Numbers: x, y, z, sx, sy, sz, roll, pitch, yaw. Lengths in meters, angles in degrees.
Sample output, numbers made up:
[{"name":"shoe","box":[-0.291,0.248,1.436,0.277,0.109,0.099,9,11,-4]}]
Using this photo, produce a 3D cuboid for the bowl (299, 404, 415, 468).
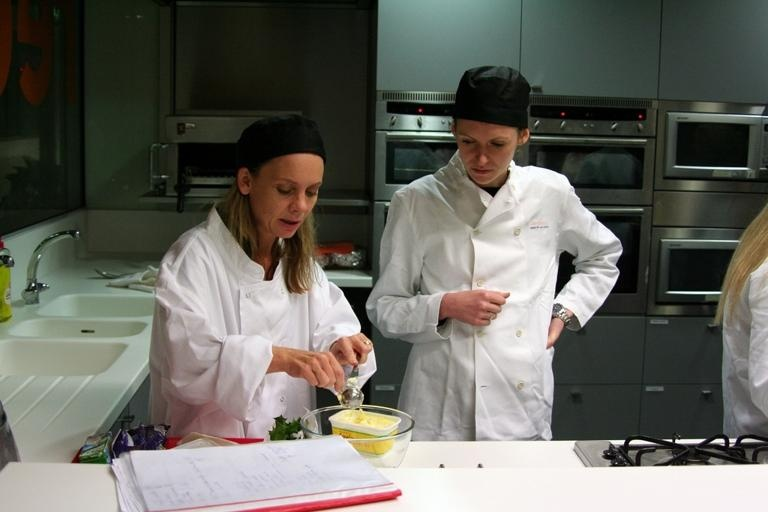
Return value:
[{"name":"bowl","box":[-0.066,0.416,1.483,0.229,0.081,0.154,4,12,11]}]

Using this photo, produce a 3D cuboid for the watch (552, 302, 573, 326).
[{"name":"watch","box":[0.659,0.214,2.240,0.044,0.081,0.067,-41,59,-17]}]

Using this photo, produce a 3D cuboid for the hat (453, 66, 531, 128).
[{"name":"hat","box":[0.377,-0.521,2.056,0.230,0.176,0.211,4,8,-40]}]

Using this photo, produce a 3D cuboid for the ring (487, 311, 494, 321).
[{"name":"ring","box":[0.358,0.197,2.000,0.020,0.027,0.027,13,-6,-27]}]

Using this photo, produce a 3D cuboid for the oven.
[{"name":"oven","box":[0.720,-0.257,3.534,1.527,1.314,0.578,2,-10,4]}]

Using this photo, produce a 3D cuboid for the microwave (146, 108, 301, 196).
[{"name":"microwave","box":[-1.065,-0.623,3.733,0.789,0.405,0.595,-1,6,-3]}]

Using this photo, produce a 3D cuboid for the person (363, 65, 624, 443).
[{"name":"person","box":[0.416,0.005,2.195,0.865,1.297,0.408,2,0,-22]}]

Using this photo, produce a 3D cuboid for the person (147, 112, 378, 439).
[{"name":"person","box":[-0.348,0.070,1.800,0.635,0.974,0.524,2,0,-21]}]
